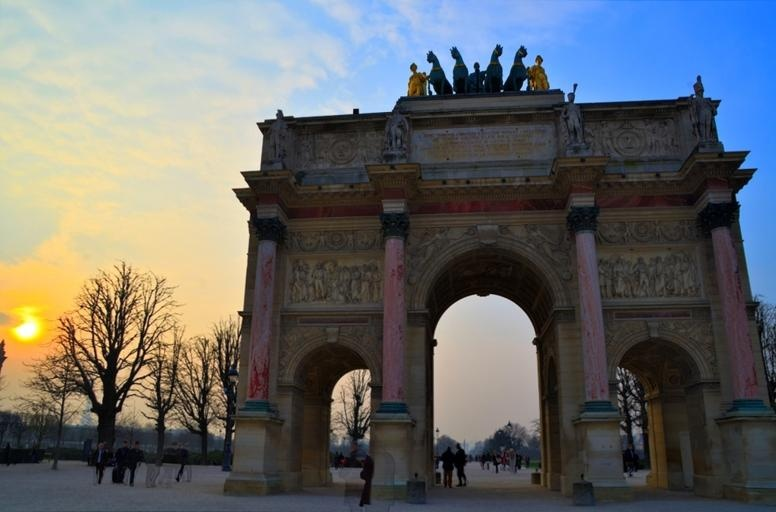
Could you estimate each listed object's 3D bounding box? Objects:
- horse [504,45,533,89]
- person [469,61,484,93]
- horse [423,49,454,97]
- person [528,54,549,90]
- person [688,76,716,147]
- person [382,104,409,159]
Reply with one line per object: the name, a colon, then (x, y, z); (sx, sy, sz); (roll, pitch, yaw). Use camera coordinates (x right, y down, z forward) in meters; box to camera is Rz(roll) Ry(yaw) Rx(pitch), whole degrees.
horse: (7.835, -11.607, 40.962); (1.323, 3.798, 1.996); (-2, -20, 10)
person: (5.478, -11.011, 41.813); (0.955, 2.045, 0.614); (-1, -20, 6)
horse: (3.359, -11.106, 42.979); (1.023, 2.861, 4.308); (-4, -12, 22)
person: (9.025, -11.139, 40.863); (1.167, 2.633, 1.206); (-5, -21, 17)
person: (17.312, -7.916, 36.994); (1.182, 4.406, 0.764); (-4, -20, 15)
person: (0.423, -6.816, 37.727); (1.260, 3.436, 0.483); (3, -19, -3)
